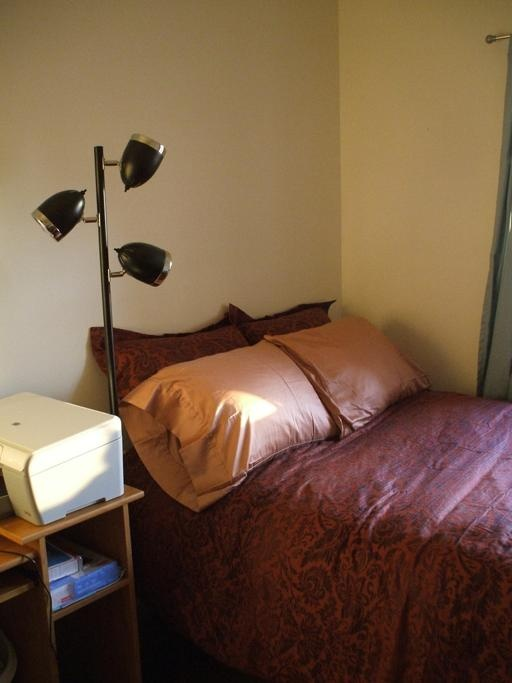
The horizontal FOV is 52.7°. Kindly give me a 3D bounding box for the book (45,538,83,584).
[{"bbox_3d":[-0.453,0.507,1.203,0.066,0.017,0.067,12,8,19],"label":"book"}]

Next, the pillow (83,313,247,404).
[{"bbox_3d":[-0.300,-0.070,1.957,0.704,0.323,0.104,-9,-8,-44],"label":"pillow"}]

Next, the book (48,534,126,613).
[{"bbox_3d":[-0.419,0.544,1.225,0.120,0.032,0.123,13,12,39],"label":"book"}]

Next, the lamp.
[{"bbox_3d":[-0.396,-0.070,1.438,0.346,0.944,0.131,-17,31,-30],"label":"lamp"}]

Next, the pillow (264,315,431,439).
[{"bbox_3d":[0.372,0.082,2.044,0.417,0.152,0.484,-10,44,-25],"label":"pillow"}]
